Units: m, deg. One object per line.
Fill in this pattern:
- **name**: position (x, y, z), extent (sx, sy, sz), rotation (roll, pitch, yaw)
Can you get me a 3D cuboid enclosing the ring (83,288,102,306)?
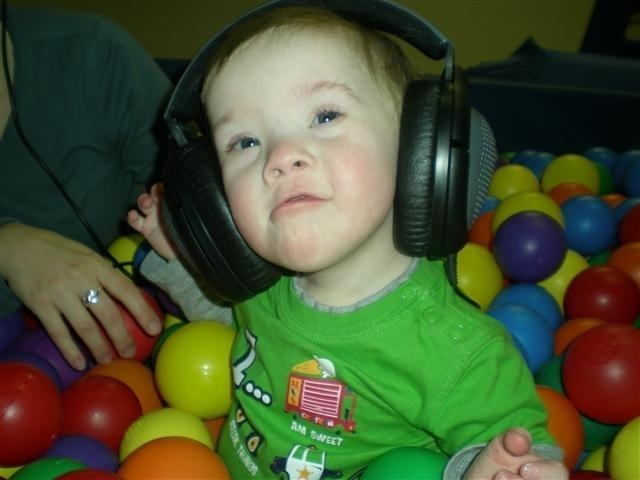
- **ring**: position (-0.788, 0.203, 2.127), extent (0.041, 0.032, 0.060), rotation (3, -10, -10)
